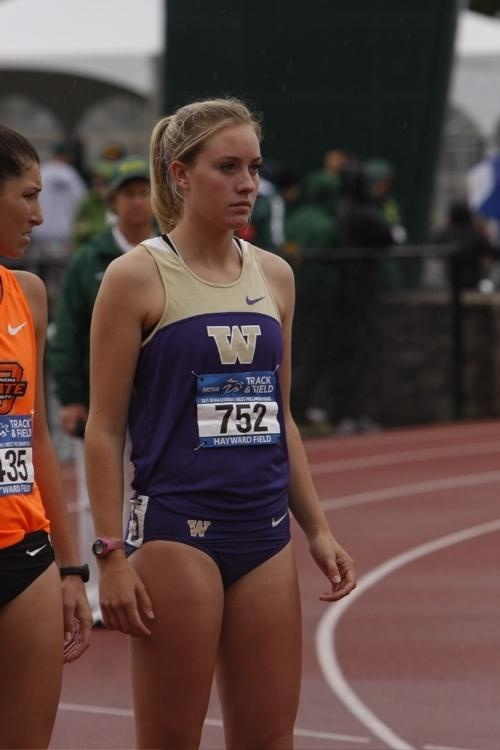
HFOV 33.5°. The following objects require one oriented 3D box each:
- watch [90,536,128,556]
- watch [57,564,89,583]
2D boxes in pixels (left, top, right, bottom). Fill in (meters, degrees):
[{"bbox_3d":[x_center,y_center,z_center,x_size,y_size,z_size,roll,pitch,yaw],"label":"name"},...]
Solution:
[{"bbox_3d":[-0.293,0.361,1.752,0.058,0.035,0.059,4,-13,-42],"label":"watch"},{"bbox_3d":[-0.384,0.432,1.814,0.047,0.026,0.042,1,-2,-12],"label":"watch"}]
